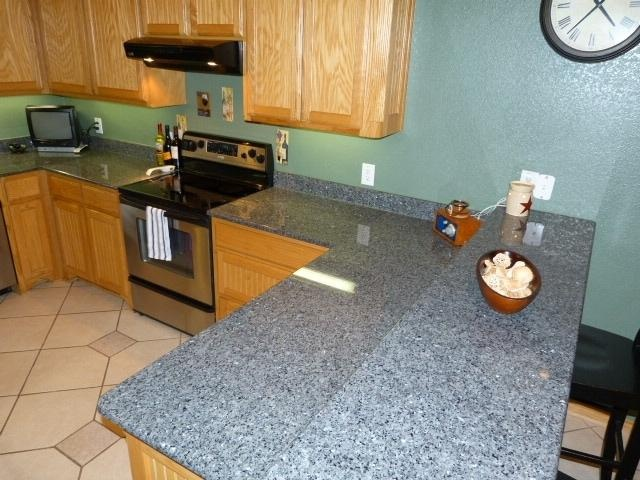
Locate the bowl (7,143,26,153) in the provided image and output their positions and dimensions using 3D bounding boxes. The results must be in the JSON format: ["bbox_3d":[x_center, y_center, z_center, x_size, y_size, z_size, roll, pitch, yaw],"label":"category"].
[{"bbox_3d":[-2.750,-0.815,4.137,0.153,0.054,0.110,-1,39,-16],"label":"bowl"}]

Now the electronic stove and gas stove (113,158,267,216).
[{"bbox_3d":[-0.903,-0.377,3.325,0.731,0.151,0.619,13,24,32],"label":"electronic stove and gas stove"}]

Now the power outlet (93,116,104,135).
[{"bbox_3d":[-2.054,-1.069,4.245,0.149,0.175,0.021,22,36,24],"label":"power outlet"}]

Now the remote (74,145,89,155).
[{"bbox_3d":[-2.204,-0.837,4.219,0.123,0.037,0.164,9,27,3],"label":"remote"}]

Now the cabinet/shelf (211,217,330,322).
[{"bbox_3d":[-0.260,0.132,2.576,0.634,0.523,0.300,15,25,30],"label":"cabinet/shelf"}]

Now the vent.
[{"bbox_3d":[-0.983,-1.264,3.117,0.926,0.232,0.238,17,28,29],"label":"vent"}]

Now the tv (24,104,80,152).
[{"bbox_3d":[-2.400,-1.001,4.108,0.499,0.359,0.251,2,28,-7],"label":"tv"}]

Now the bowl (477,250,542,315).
[{"bbox_3d":[0.728,0.197,1.889,0.256,0.161,0.250,0,39,0],"label":"bowl"}]

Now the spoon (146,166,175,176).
[{"bbox_3d":[-1.267,-0.551,3.623,0.184,0.038,0.108,-18,26,-41],"label":"spoon"}]

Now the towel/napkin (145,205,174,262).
[{"bbox_3d":[-1.143,-0.024,3.191,0.258,0.404,0.122,20,32,32],"label":"towel/napkin"}]
